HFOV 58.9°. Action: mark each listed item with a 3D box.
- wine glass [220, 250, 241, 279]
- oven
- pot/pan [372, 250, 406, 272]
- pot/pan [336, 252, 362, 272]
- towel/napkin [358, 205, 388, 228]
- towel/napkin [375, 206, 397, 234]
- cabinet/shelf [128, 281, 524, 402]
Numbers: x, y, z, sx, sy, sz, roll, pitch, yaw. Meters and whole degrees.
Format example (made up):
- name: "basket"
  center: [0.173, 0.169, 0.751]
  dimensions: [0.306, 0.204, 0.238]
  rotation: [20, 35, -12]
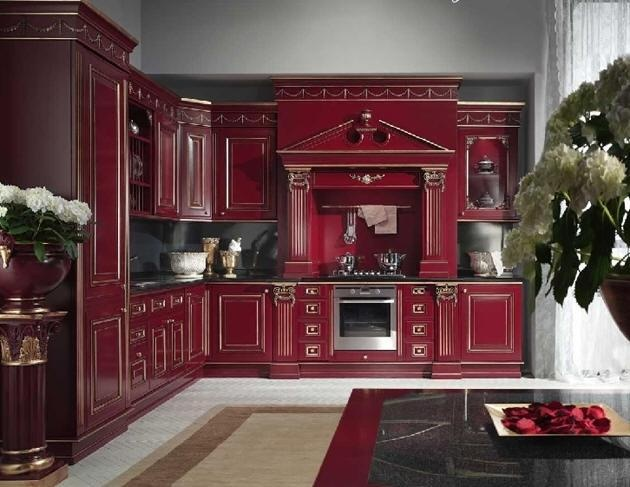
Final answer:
- name: "wine glass"
  center: [-0.818, 0.223, 5.859]
  dimensions: [0.259, 0.312, 0.252]
  rotation: [0, -8, -3]
- name: "oven"
  center: [0.424, 0.751, 5.612]
  dimensions: [0.702, 0.631, 0.482]
  rotation: [2, -9, -14]
- name: "pot/pan"
  center: [0.775, 0.197, 5.813]
  dimensions: [0.213, 0.224, 0.327]
  rotation: [1, -2, -4]
- name: "pot/pan"
  center: [0.346, 0.158, 5.860]
  dimensions: [0.274, 0.187, 0.166]
  rotation: [0, 1, -4]
- name: "towel/napkin"
  center: [0.613, -0.307, 6.042]
  dimensions: [0.245, 0.238, 0.081]
  rotation: [-1, -12, -3]
- name: "towel/napkin"
  center: [0.774, -0.244, 5.845]
  dimensions: [0.256, 0.265, 0.068]
  rotation: [-1, 2, -1]
- name: "cabinet/shelf"
  center: [0.164, 0.772, 5.317]
  dimensions: [3.395, 1.240, 0.958]
  rotation: [-5, 7, -15]
